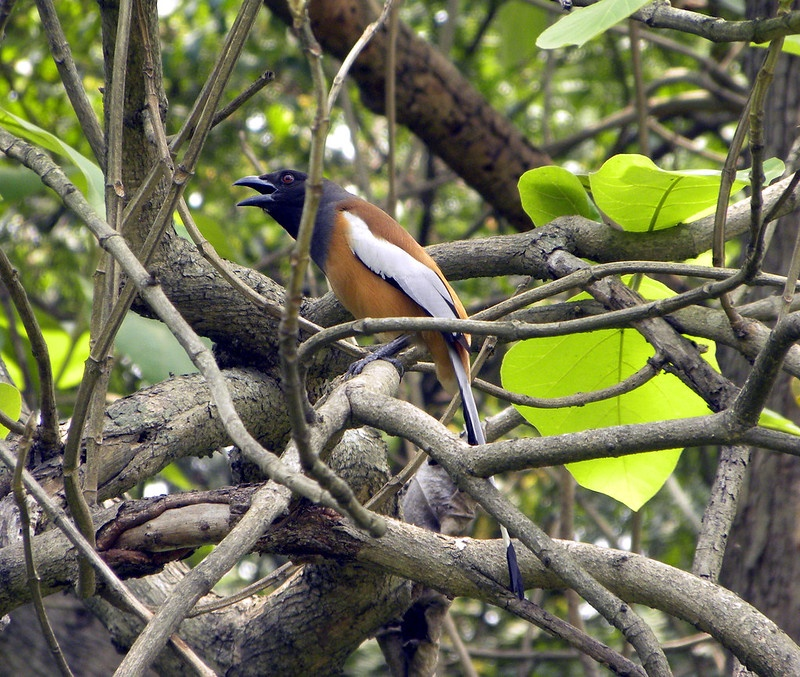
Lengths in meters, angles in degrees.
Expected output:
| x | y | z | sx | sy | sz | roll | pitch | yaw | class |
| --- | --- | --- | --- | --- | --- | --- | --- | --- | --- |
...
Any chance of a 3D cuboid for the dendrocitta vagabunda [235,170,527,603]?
| x | y | z | sx | sy | sz | roll | pitch | yaw | class |
| --- | --- | --- | --- | --- | --- | --- | --- | --- | --- |
| -0.074 | 0.145 | 5.733 | 1.279 | 2.147 | 0.656 | -2 | -38 | 12 | dendrocitta vagabunda |
